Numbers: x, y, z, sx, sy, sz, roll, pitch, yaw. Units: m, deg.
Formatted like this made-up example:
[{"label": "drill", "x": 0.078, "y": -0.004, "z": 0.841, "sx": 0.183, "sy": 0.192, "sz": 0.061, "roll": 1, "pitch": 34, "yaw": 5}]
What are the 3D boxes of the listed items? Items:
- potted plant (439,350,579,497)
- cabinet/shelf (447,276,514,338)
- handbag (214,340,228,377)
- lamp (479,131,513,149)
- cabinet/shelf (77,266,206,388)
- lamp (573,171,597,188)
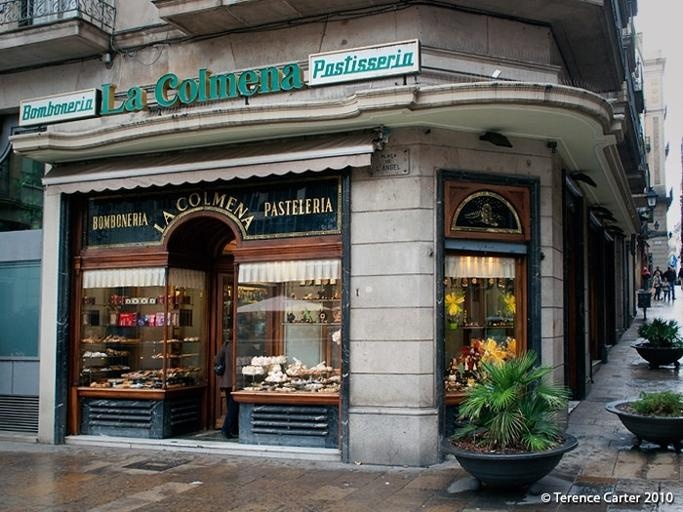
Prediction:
[{"label": "potted plant", "x": 2.835, "y": 2.725, "z": 11.756, "sx": 1.975, "sy": 2.146, "sz": 2.092, "roll": 1, "pitch": -5, "yaw": -41}, {"label": "cabinet/shelf", "x": 2.577, "y": 0.963, "z": 13.819, "sx": 1.026, "sy": 1.056, "sz": 0.381, "roll": 2, "pitch": -3, "yaw": -10}, {"label": "handbag", "x": -2.506, "y": 2.175, "z": 15.150, "sx": 0.171, "sy": 0.545, "sz": 0.372, "roll": 6, "pitch": 0, "yaw": -4}, {"label": "lamp", "x": 2.939, "y": -2.170, "z": 13.684, "sx": 0.685, "sy": 0.330, "sz": 0.235, "roll": -4, "pitch": 5, "yaw": -19}, {"label": "cabinet/shelf", "x": -4.365, "y": 1.508, "z": 15.366, "sx": 2.273, "sy": 2.406, "sz": 0.845, "roll": -1, "pitch": -5, "yaw": 12}, {"label": "lamp", "x": 5.482, "y": -1.731, "z": 16.454, "sx": 0.491, "sy": 0.341, "sz": 1.319, "roll": -1, "pitch": 5, "yaw": 20}]
